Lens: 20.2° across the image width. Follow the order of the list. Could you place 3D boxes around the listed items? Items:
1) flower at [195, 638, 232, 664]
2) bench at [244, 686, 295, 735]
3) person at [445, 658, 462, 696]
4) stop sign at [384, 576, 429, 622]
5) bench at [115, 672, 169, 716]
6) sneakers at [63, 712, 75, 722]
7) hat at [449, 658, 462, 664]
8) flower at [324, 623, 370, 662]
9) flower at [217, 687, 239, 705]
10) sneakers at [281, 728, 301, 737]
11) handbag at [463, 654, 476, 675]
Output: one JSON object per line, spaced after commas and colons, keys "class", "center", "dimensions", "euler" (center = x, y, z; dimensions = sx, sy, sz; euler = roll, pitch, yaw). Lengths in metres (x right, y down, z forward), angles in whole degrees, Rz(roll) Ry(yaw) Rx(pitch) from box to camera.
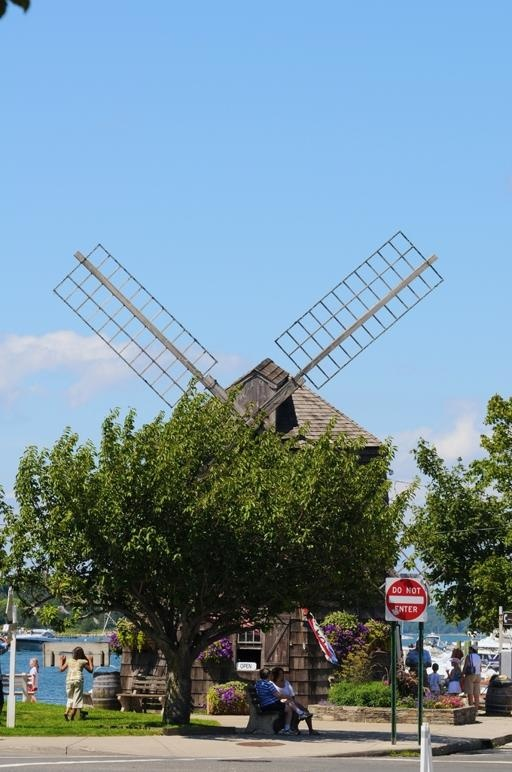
{"class": "flower", "center": [-0.943, 6.402, 34.822], "dimensions": [0.999, 0.687, 0.853], "euler": [1, -19, 7]}
{"class": "bench", "center": [0.278, 6.061, 27.279], "dimensions": [0.843, 1.069, 0.928], "euler": [-3, -8, 16]}
{"class": "person", "center": [4.578, 6.694, 33.250], "dimensions": [0.335, 0.870, 1.249], "euler": [-1, -12, 8]}
{"class": "stop sign", "center": [2.628, 3.725, 25.172], "dimensions": [0.741, 0.815, 1.134], "euler": [-1, -12, 6]}
{"class": "bench", "center": [-2.773, 7.457, 35.004], "dimensions": [1.069, 0.854, 2.023], "euler": [1, -12, -5]}
{"class": "sneakers", "center": [-3.670, 6.481, 28.217], "dimensions": [0.106, 0.204, 0.199], "euler": [-6, -7, 30]}
{"class": "hat", "center": [4.657, 6.394, 33.664], "dimensions": [0.224, 0.128, 0.351], "euler": [9, -9, -7]}
{"class": "flower", "center": [2.178, 6.084, 34.646], "dimensions": [0.908, 0.623, 0.890], "euler": [-3, 17, -5]}
{"class": "flower", "center": [-0.619, 7.099, 33.048], "dimensions": [0.445, 0.313, 0.373], "euler": [-14, -23, 34]}
{"class": "sneakers", "center": [0.636, 6.400, 26.605], "dimensions": [0.342, 0.147, 0.128], "euler": [-7, -14, 28]}
{"class": "handbag", "center": [4.905, 6.392, 33.055], "dimensions": [0.277, 0.471, 0.539], "euler": [-2, -12, 8]}
